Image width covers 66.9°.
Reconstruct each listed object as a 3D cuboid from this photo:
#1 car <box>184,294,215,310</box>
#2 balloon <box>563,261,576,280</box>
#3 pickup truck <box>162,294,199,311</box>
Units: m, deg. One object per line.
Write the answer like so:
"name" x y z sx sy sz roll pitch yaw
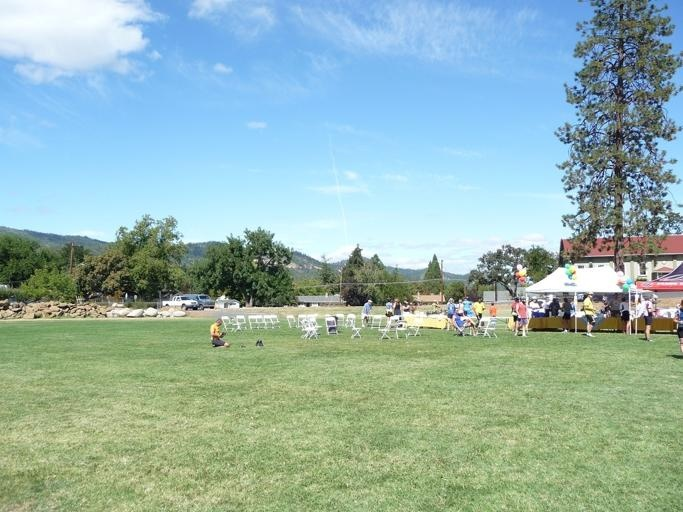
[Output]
"car" -16.328 5.334 60.105 2.542 1.356 1.688 -5 -5 39
"balloon" 12.131 0.803 27.606 0.389 1.206 0.678 0 -3 26
"pickup truck" -18.374 5.361 59.360 4.315 1.683 2.103 -6 -5 34
